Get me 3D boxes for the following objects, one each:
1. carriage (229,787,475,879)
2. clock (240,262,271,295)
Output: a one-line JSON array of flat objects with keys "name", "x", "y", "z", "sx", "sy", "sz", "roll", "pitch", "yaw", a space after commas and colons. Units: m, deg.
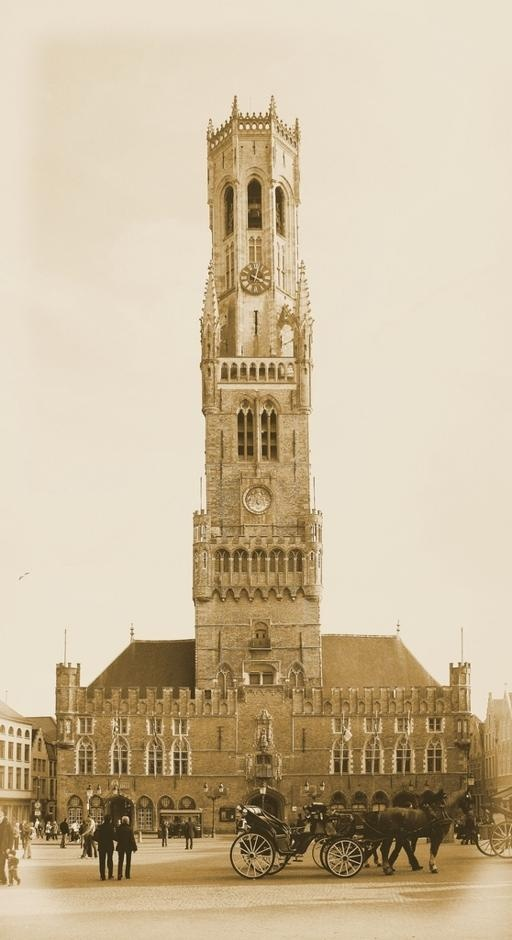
[{"name": "carriage", "x": 1.812, "y": 7.361, "z": 37.905, "sx": 4.558, "sy": 1.657, "sz": 2.422, "roll": 2, "pitch": -14, "yaw": -12}, {"name": "clock", "x": -0.044, "y": -8.211, "z": 81.741, "sx": 1.112, "sy": 1.535, "sz": 0.183, "roll": 0, "pitch": -19, "yaw": 0}]
